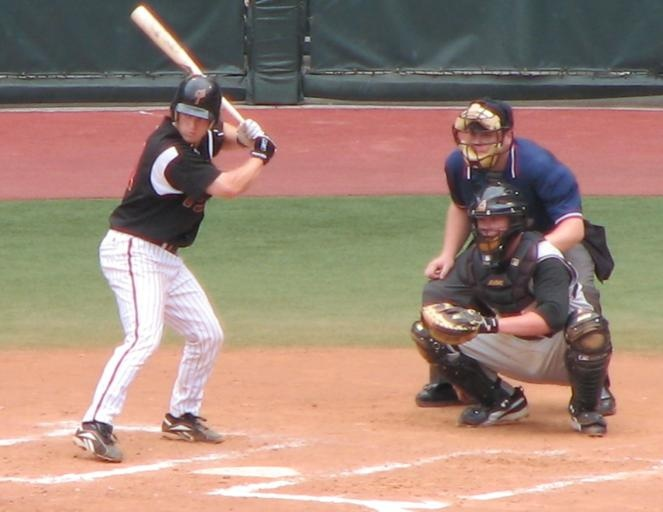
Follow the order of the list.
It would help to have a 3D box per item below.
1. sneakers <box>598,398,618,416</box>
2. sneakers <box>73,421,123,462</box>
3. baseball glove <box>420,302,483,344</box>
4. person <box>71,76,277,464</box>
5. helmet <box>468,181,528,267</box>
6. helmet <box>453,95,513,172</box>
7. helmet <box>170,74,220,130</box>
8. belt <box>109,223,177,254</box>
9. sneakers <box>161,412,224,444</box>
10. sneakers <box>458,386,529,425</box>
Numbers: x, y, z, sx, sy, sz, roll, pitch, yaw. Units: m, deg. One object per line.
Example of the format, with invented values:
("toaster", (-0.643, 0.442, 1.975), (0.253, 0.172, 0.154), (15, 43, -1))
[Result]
("sneakers", (1.744, 0.947, 7.983), (0.148, 0.090, 0.041), (2, -6, -9))
("sneakers", (-1.366, 1.087, 7.515), (0.249, 0.242, 0.154), (4, 4, 18))
("baseball glove", (0.724, 0.417, 7.759), (0.412, 0.244, 0.184), (5, 4, 41))
("person", (-0.993, 0.041, 7.807), (1.194, 2.320, 0.589), (2, 4, -25))
("helmet", (1.032, -0.199, 7.852), (0.320, 0.521, 0.200), (5, 4, 19))
("helmet", (0.961, -0.766, 8.043), (0.374, 0.446, 0.197), (3, 4, 4))
("helmet", (-0.796, -0.946, 7.776), (0.254, 0.319, 0.319), (5, 4, 26))
("belt", (-1.097, -0.083, 7.730), (0.268, 0.048, 0.239), (18, 0, -40))
("sneakers", (-0.873, 1.063, 7.859), (0.513, 0.136, 0.144), (4, 2, 3))
("sneakers", (0.981, 0.965, 8.149), (0.583, 0.179, 0.184), (-3, 4, -14))
